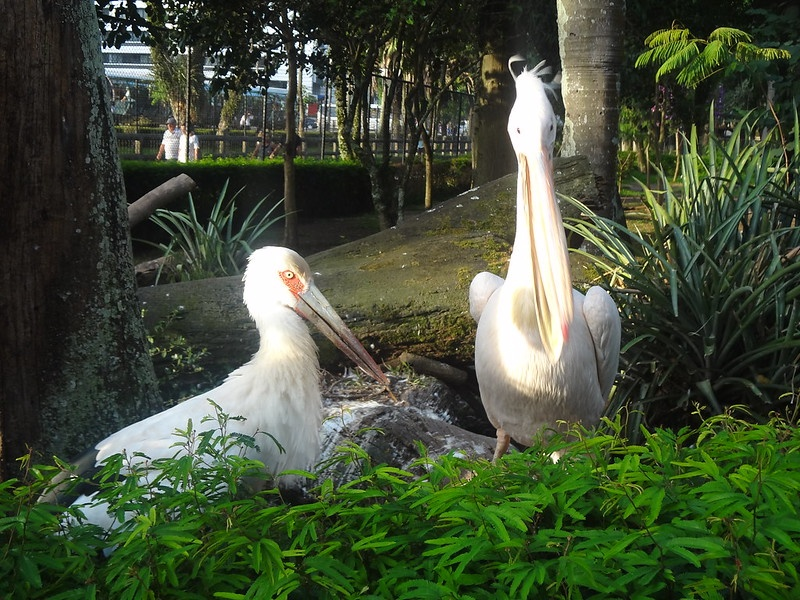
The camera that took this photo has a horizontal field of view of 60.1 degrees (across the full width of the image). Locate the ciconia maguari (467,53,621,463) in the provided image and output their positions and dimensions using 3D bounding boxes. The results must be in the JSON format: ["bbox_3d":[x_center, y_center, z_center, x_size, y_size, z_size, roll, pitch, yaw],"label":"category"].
[{"bbox_3d":[0.743,-0.168,3.578,0.756,1.956,0.413,-3,10,7],"label":"ciconia maguari"}]
